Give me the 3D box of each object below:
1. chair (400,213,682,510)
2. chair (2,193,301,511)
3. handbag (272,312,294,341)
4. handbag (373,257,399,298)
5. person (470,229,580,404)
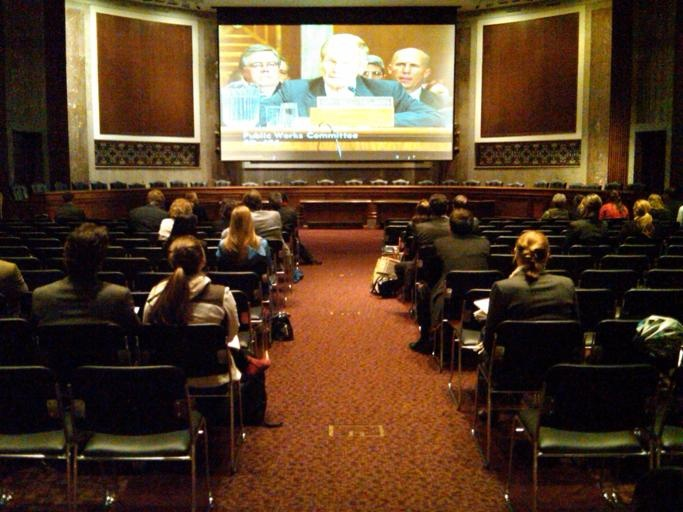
[{"bbox_3d":[1.267,0.779,3.841,0.845,1.228,1.680,-2,11,-2],"label":"chair"},{"bbox_3d":[-1.226,0.814,3.414,1.393,1.339,1.014,-6,12,-24],"label":"chair"},{"bbox_3d":[-0.627,0.745,6.248,0.299,0.449,0.234,0,-7,-8],"label":"handbag"},{"bbox_3d":[0.614,0.301,7.915,0.289,0.524,0.668,-4,11,-15],"label":"handbag"},{"bbox_3d":[1.326,0.552,4.206,0.921,1.477,0.957,0,10,21],"label":"person"}]
